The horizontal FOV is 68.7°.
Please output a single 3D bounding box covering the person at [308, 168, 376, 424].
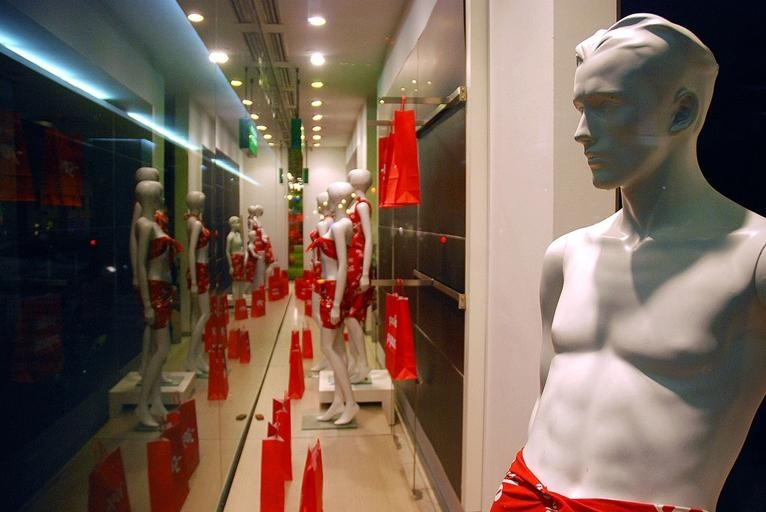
[{"bbox_3d":[-0.305,0.307,3.538,0.273,1.557,0.235,0,4,0],"label":"person"}]
